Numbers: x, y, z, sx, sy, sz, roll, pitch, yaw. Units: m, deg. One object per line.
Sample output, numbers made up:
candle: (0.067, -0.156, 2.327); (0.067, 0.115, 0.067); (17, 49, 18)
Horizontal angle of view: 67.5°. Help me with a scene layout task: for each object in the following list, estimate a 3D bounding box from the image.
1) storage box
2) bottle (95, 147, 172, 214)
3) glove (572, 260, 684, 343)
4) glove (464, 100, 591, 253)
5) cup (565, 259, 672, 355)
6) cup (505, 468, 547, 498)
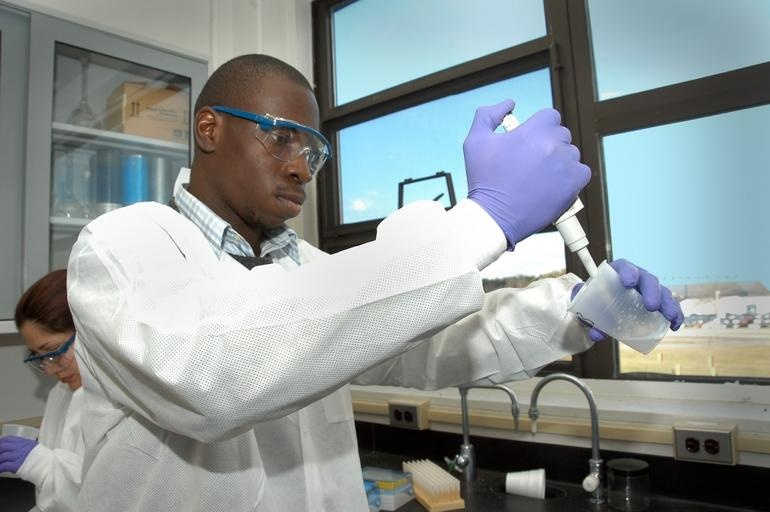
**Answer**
storage box: (-1.188, -0.601, 2.877); (0.435, 0.328, 0.237); (4, -8, -40)
bottle: (-1.180, -0.355, 2.649); (0.361, 0.377, 0.138); (4, -6, -41)
glove: (0.691, 0.146, 1.729); (0.251, 0.286, 0.164); (-25, -1, -17)
glove: (0.339, -0.266, 1.616); (0.431, 0.396, 0.118); (-27, -32, -22)
cup: (0.772, 0.162, 1.882); (0.313, 0.220, 0.216); (34, -36, 0)
cup: (0.616, 0.990, 2.518); (0.178, 0.147, 0.136); (-1, -7, 6)
